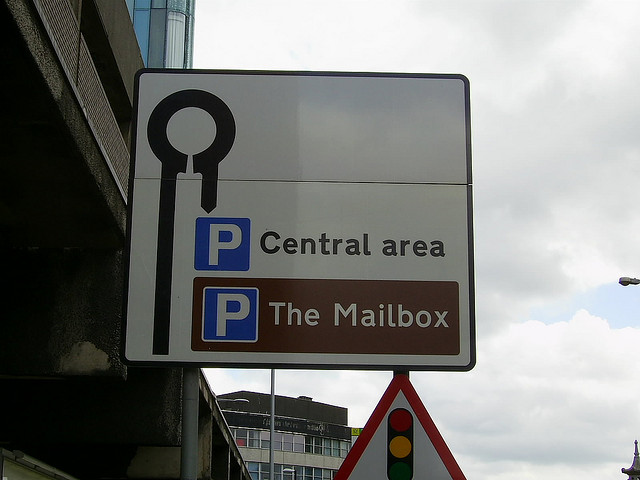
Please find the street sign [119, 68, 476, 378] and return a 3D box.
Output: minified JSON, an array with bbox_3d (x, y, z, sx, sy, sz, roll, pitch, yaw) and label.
[{"bbox_3d":[-0.166,-0.065,6.140,1.647,1.742,0.717,0,-14,2],"label":"street sign"}]
